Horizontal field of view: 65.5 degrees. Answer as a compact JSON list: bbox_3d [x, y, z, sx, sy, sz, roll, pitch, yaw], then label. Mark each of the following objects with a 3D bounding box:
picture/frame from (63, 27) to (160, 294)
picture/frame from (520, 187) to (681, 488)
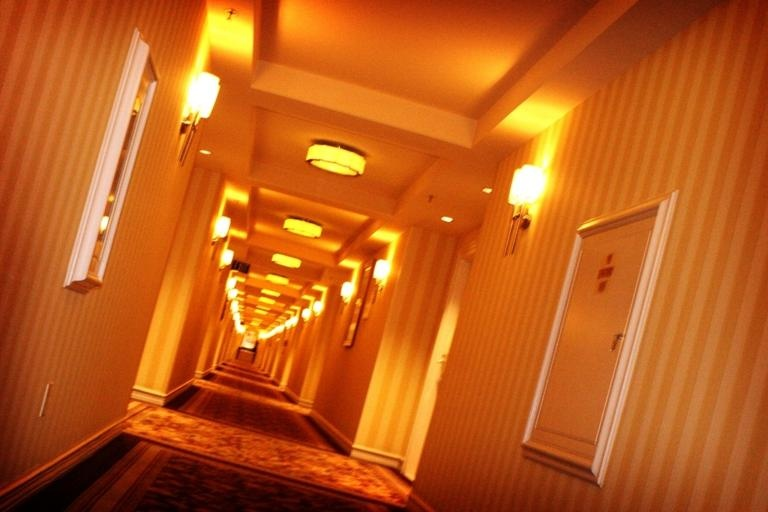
[{"bbox_3d":[-1.786,-0.584,3.980,0.185,1.811,0.655,19,-6,-11],"label":"picture/frame"},{"bbox_3d":[1.406,0.515,4.018,0.173,1.404,0.987,19,-6,-10],"label":"picture/frame"}]
